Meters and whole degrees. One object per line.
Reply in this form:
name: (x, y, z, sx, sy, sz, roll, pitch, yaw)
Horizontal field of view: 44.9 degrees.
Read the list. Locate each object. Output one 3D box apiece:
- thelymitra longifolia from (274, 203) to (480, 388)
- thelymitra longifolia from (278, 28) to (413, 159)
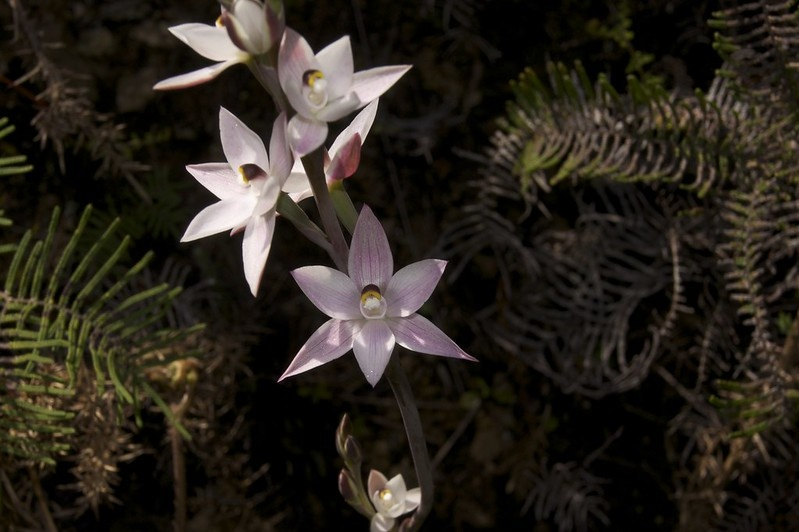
thelymitra longifolia: (-0.048, 0.098, 2.078, 0.308, 0.117, 0.348, -19, 14, 7)
thelymitra longifolia: (-0.121, -0.430, 1.946, 0.215, 0.164, 0.295, 27, 63, -10)
